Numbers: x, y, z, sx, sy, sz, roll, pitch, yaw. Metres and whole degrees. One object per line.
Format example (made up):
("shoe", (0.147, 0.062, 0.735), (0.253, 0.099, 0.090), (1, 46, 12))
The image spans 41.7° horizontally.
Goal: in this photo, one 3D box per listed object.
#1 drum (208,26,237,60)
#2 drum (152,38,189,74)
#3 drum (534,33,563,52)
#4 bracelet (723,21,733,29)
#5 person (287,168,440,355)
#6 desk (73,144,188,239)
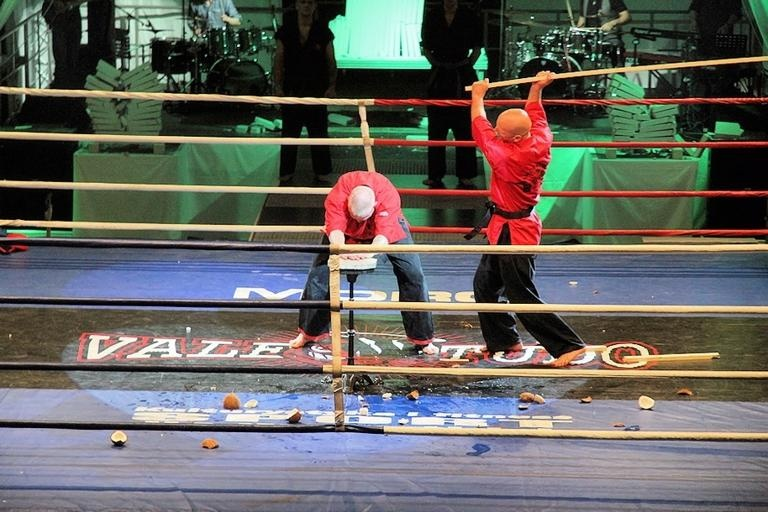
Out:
("drum", (-1.856, -2.453, 11.578), (0.340, 0.347, 0.154), (-6, 24, -16))
("drum", (-2.449, -2.275, 11.448), (0.213, 0.404, 0.461), (21, 28, 41))
("drum", (1.928, -2.530, 11.838), (0.298, 0.239, 0.160), (-8, 23, -21))
("bracelet", (3.833, -2.598, 11.281), (0.114, 0.017, 0.089), (-8, 15, 23))
("person", (-0.148, 0.036, 7.501), (1.091, 1.315, 0.817), (0, 22, 1))
("desk", (-2.567, -0.592, 10.063), (1.125, 0.950, 0.515), (-2, 23, -6))
